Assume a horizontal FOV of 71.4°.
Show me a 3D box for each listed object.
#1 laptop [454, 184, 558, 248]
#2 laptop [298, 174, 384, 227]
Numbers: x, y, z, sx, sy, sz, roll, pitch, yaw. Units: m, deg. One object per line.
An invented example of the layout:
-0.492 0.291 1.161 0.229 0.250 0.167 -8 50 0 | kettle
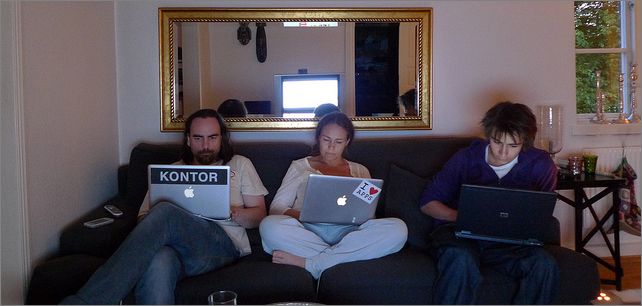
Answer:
1.620 0.405 4.082 0.941 0.519 0.583 5 15 7 | laptop
0.164 0.429 4.000 0.780 0.417 0.483 4 19 -10 | laptop
